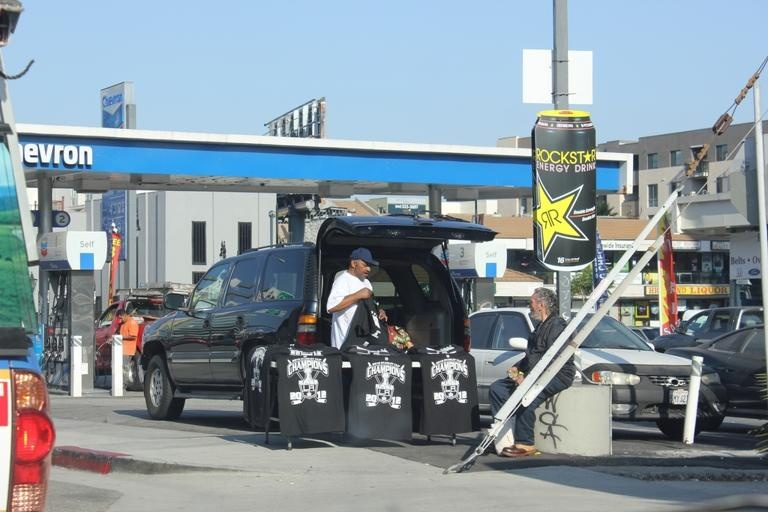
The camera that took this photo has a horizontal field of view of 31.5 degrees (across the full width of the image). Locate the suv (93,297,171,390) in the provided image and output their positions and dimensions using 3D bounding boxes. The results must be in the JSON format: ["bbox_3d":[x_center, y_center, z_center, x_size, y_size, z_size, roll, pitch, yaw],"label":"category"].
[{"bbox_3d":[-6.345,2.045,33.419,2.114,1.812,3.523,1,1,-28],"label":"suv"}]

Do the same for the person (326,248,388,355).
[{"bbox_3d":[-0.525,0.653,20.789,0.709,1.530,0.449,-1,-2,-1],"label":"person"}]

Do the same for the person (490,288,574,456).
[{"bbox_3d":[2.161,1.713,20.046,1.241,2.461,0.861,-1,-2,11],"label":"person"}]

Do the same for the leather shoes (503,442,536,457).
[{"bbox_3d":[1.997,2.870,19.972,0.489,0.215,0.183,5,-7,-17],"label":"leather shoes"}]

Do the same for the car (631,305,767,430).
[{"bbox_3d":[6.001,2.025,25.293,2.130,1.626,3.531,2,0,-33],"label":"car"}]

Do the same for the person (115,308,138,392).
[{"bbox_3d":[-6.099,2.229,32.363,0.531,1.894,1.282,0,-2,-11],"label":"person"}]

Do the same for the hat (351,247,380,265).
[{"bbox_3d":[-0.303,0.020,20.870,0.365,0.175,0.254,1,-2,29],"label":"hat"}]

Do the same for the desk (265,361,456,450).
[{"bbox_3d":[-0.320,2.218,21.036,3.071,1.408,1.724,0,-3,-16],"label":"desk"}]

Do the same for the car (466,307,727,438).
[{"bbox_3d":[3.097,1.821,22.834,1.979,1.313,4.154,4,-6,-36],"label":"car"}]
